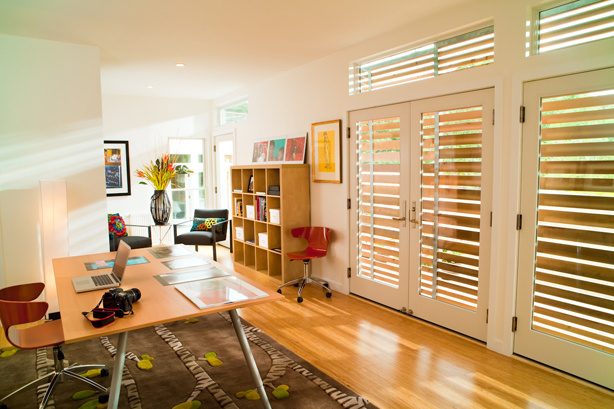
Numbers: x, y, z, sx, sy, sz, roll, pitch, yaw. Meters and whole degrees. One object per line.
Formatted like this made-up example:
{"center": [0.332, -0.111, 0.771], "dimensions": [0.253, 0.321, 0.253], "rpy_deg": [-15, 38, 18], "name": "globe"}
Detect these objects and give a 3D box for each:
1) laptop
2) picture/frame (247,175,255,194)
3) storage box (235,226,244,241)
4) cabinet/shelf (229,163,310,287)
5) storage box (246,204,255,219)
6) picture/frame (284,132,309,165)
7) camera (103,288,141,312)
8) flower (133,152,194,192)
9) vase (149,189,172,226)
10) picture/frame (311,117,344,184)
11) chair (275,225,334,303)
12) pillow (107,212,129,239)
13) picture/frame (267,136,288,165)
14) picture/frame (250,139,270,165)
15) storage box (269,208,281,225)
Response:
{"center": [-1.935, 0.578, 3.765], "dimensions": [0.489, 0.340, 0.505], "rpy_deg": [0, 8, -26], "name": "laptop"}
{"center": [-1.000, -0.349, 7.056], "dimensions": [0.029, 0.397, 0.371], "rpy_deg": [2, 0, -31], "name": "picture/frame"}
{"center": [-1.251, 0.543, 7.385], "dimensions": [0.162, 0.192, 0.282], "rpy_deg": [-6, 8, -38], "name": "storage box"}
{"center": [-0.568, 0.320, 6.508], "dimensions": [0.543, 1.870, 1.986], "rpy_deg": [-6, 10, -37], "name": "cabinet/shelf"}
{"center": [-1.008, 0.131, 7.053], "dimensions": [0.144, 0.181, 0.257], "rpy_deg": [-5, 8, -34], "name": "storage box"}
{"center": [-0.159, -0.913, 6.523], "dimensions": [0.043, 0.445, 0.540], "rpy_deg": [7, 15, -40], "name": "picture/frame"}
{"center": [-1.528, 0.788, 3.293], "dimensions": [0.180, 0.132, 0.244], "rpy_deg": [4, 7, 23], "name": "camera"}
{"center": [-2.955, -0.646, 8.210], "dimensions": [0.925, 0.585, 0.916], "rpy_deg": [2, 10, 18], "name": "flower"}
{"center": [-2.880, 0.071, 7.840], "dimensions": [0.359, 0.697, 0.336], "rpy_deg": [-7, 16, -22], "name": "vase"}
{"center": [0.297, -0.803, 6.055], "dimensions": [0.225, 0.952, 0.749], "rpy_deg": [-10, 17, -31], "name": "picture/frame"}
{"center": [-0.013, 0.841, 5.906], "dimensions": [0.837, 0.938, 0.821], "rpy_deg": [-6, 5, -31], "name": "chair"}
{"center": [-3.297, 0.324, 6.861], "dimensions": [0.140, 0.468, 0.446], "rpy_deg": [-24, -15, 28], "name": "pillow"}
{"center": [-0.508, -0.929, 6.904], "dimensions": [0.051, 0.635, 0.563], "rpy_deg": [8, -15, -35], "name": "picture/frame"}
{"center": [-0.858, -0.972, 7.341], "dimensions": [0.065, 0.509, 0.630], "rpy_deg": [-1, 5, -37], "name": "picture/frame"}
{"center": [-0.515, 0.195, 6.397], "dimensions": [0.163, 0.185, 0.266], "rpy_deg": [-6, 10, -35], "name": "storage box"}
